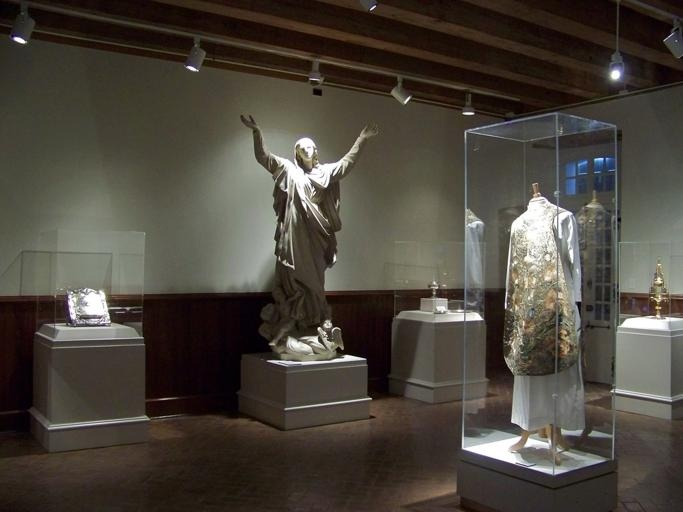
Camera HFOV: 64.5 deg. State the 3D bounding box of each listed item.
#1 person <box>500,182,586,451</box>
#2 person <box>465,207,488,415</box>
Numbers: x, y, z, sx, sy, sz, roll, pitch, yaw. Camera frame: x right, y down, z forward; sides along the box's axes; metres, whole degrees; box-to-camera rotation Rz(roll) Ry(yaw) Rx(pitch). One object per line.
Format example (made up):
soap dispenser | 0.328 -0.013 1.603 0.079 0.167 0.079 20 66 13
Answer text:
person | 1.184 0.378 3.194 0.436 1.616 0.158 1 1 28
person | 0.824 0.355 3.357 0.085 1.301 0.200 0 1 -36
